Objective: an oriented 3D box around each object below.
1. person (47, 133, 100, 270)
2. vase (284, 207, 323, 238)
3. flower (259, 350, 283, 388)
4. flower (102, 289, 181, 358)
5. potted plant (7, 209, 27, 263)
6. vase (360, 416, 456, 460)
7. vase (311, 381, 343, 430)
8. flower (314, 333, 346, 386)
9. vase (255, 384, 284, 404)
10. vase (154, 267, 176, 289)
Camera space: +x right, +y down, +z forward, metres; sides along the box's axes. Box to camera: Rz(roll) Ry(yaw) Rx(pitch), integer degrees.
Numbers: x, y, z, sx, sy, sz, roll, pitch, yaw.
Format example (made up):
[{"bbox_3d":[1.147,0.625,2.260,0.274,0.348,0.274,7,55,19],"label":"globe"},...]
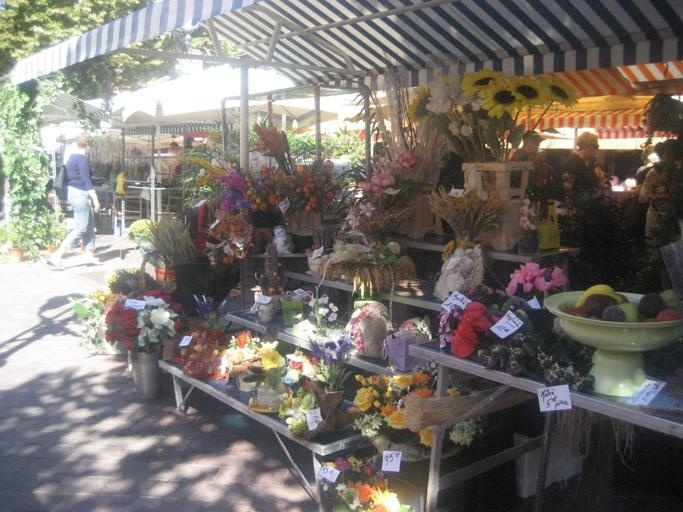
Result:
[{"bbox_3d":[-4.428,-0.915,9.417,0.854,2.407,0.910,-10,22,-44],"label":"person"},{"bbox_3d":[-0.325,-0.291,4.724,0.259,0.177,0.255,-6,15,-29],"label":"vase"},{"bbox_3d":[-0.497,0.779,3.874,0.193,0.224,0.179,-1,15,7],"label":"flower"},{"bbox_3d":[-1.704,0.541,4.783,0.604,0.464,0.592,-7,10,-39],"label":"flower"},{"bbox_3d":[-5.779,-0.279,9.727,0.219,0.723,0.444,-11,17,-29],"label":"potted plant"},{"bbox_3d":[0.301,1.121,3.350,0.452,0.267,0.112,2,16,17],"label":"vase"},{"bbox_3d":[-0.117,0.935,3.551,0.200,0.322,0.266,-8,16,-19],"label":"vase"},{"bbox_3d":[-0.084,0.714,3.771,0.254,0.355,0.246,8,-27,-21],"label":"flower"},{"bbox_3d":[-0.503,0.964,3.812,0.146,0.124,0.145,5,3,2],"label":"vase"},{"bbox_3d":[-1.789,0.209,5.590,0.220,0.217,0.215,-1,4,-29],"label":"vase"}]
